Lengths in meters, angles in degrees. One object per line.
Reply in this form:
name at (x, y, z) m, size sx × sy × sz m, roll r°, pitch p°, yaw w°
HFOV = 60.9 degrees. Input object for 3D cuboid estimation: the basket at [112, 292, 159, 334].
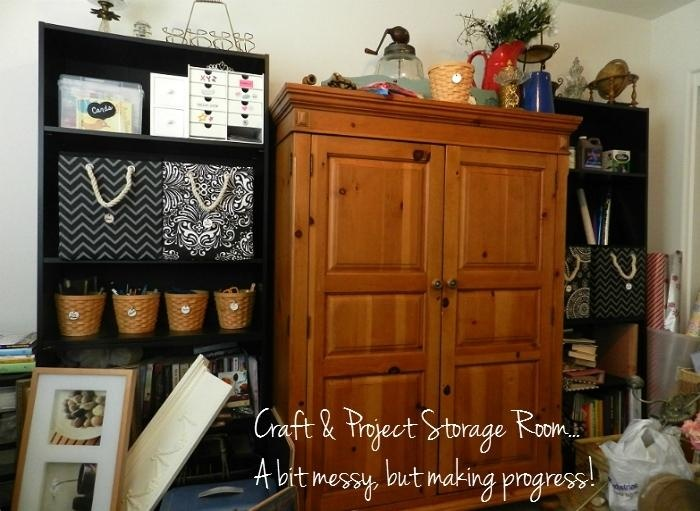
basket at (-1.087, 0.282, 3.075) m, size 0.207 × 0.166 × 0.211 m, roll 0°, pitch -2°, yaw 6°

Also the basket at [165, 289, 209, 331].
basket at (-0.859, 0.275, 3.128) m, size 0.205 × 0.164 × 0.197 m, roll 0°, pitch 0°, yaw 30°

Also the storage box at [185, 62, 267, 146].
storage box at (-0.639, -0.764, 3.069) m, size 0.428 × 0.407 × 0.156 m, roll 1°, pitch -2°, yaw -14°

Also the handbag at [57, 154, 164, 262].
handbag at (-1.173, -0.214, 3.103) m, size 0.502 × 0.509 × 0.339 m, roll -5°, pitch -6°, yaw -1°

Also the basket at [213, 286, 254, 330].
basket at (-0.637, 0.262, 3.266) m, size 0.206 × 0.241 × 0.245 m, roll -1°, pitch -4°, yaw -45°

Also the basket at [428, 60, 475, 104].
basket at (0.532, -0.909, 3.211) m, size 0.227 × 0.176 × 0.222 m, roll 4°, pitch 5°, yaw 36°

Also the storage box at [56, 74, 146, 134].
storage box at (-1.262, -0.798, 3.056) m, size 0.407 × 0.274 × 0.236 m, roll 2°, pitch 31°, yaw -24°

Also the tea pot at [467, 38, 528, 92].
tea pot at (0.838, -1.083, 3.502) m, size 0.323 × 0.329 × 0.189 m, roll 7°, pitch 7°, yaw 25°

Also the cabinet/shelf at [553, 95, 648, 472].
cabinet/shelf at (1.631, 0.202, 3.723) m, size 0.374 × 2.231 × 0.726 m, roll -4°, pitch 5°, yaw -33°

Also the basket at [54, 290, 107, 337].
basket at (-1.329, 0.288, 3.003) m, size 0.218 × 0.175 × 0.206 m, roll 0°, pitch -5°, yaw 0°
